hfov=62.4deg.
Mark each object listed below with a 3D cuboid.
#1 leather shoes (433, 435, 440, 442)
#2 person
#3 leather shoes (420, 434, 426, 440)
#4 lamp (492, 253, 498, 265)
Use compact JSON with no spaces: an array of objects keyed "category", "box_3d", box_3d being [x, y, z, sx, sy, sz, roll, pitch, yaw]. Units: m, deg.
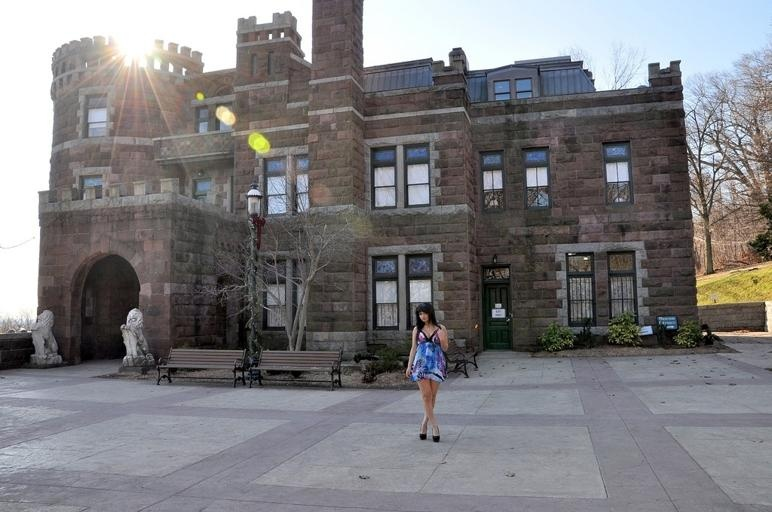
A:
[{"category":"leather shoes","box_3d":[1.105,3.978,13.933,0.142,0.130,0.138,4,-10,-33]},{"category":"person","box_3d":[0.965,2.572,14.396,0.892,3.016,1.006,-3,-5,5]},{"category":"leather shoes","box_3d":[0.828,3.967,14.019,0.131,0.078,0.229,-1,-10,-1]},{"category":"lamp","box_3d":[4.432,0.138,25.809,0.212,0.423,0.136,0,-5,-27]}]
